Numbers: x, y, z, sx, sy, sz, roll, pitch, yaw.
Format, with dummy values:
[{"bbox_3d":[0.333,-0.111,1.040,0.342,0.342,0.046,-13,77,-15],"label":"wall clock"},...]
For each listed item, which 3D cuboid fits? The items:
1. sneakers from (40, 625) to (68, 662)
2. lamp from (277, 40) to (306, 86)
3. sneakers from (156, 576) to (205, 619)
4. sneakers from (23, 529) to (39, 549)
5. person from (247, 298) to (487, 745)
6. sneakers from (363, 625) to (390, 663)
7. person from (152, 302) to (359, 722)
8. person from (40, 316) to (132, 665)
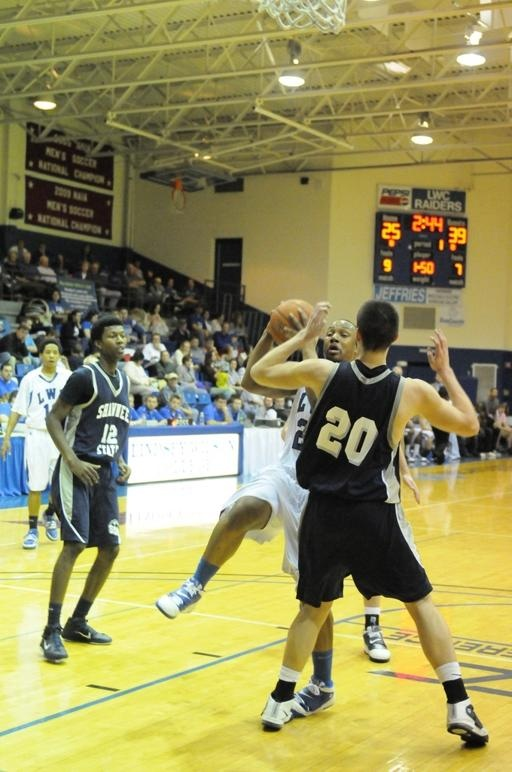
[{"bbox_3d":[-0.871,1.113,2.814,0.102,0.141,0.144,2,-7,-21],"label":"sneakers"},{"bbox_3d":[0.641,-5.825,11.606,0.435,0.700,0.410,-12,25,-34],"label":"lamp"},{"bbox_3d":[-0.250,0.691,2.170,0.104,0.075,0.227,-33,-6,1],"label":"sneakers"},{"bbox_3d":[-1.948,1.314,5.623,0.113,0.169,0.196,2,-7,-21],"label":"sneakers"},{"bbox_3d":[0.357,0.417,1.996,0.752,1.290,0.421,0,-2,13],"label":"person"},{"bbox_3d":[0.550,1.170,2.943,0.067,0.086,0.195,-3,1,-3],"label":"sneakers"},{"bbox_3d":[0.090,0.385,2.298,0.719,1.466,0.552,12,-3,12],"label":"person"},{"bbox_3d":[-0.791,0.445,3.067,0.364,1.553,0.500,0,-7,-8],"label":"person"}]
